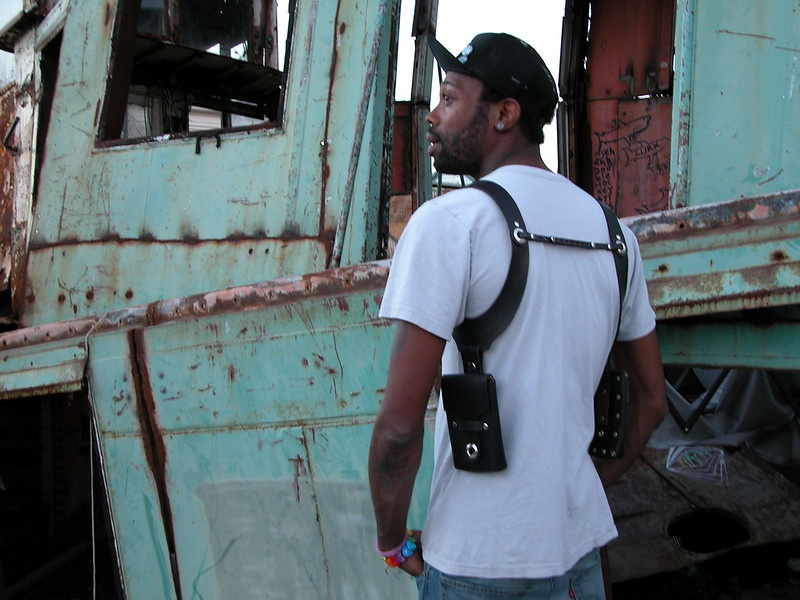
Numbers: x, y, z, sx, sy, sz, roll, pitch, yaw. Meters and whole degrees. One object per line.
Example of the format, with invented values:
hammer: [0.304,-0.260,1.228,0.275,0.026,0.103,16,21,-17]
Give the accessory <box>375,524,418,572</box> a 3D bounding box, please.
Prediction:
accessory: [0.012,0.742,2.270,0.090,0.072,0.137,-21,-33,-11]

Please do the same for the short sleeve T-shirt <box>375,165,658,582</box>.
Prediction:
short sleeve T-shirt: [0.422,0.196,2.270,0.680,1.121,0.338,2,0,-10]

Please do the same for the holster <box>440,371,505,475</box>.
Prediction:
holster: [0.202,0.328,2.097,0.168,0.326,0.062,-12,-11,33]

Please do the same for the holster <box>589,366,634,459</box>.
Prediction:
holster: [0.668,0.341,2.362,0.062,0.269,0.242,-1,-1,4]
